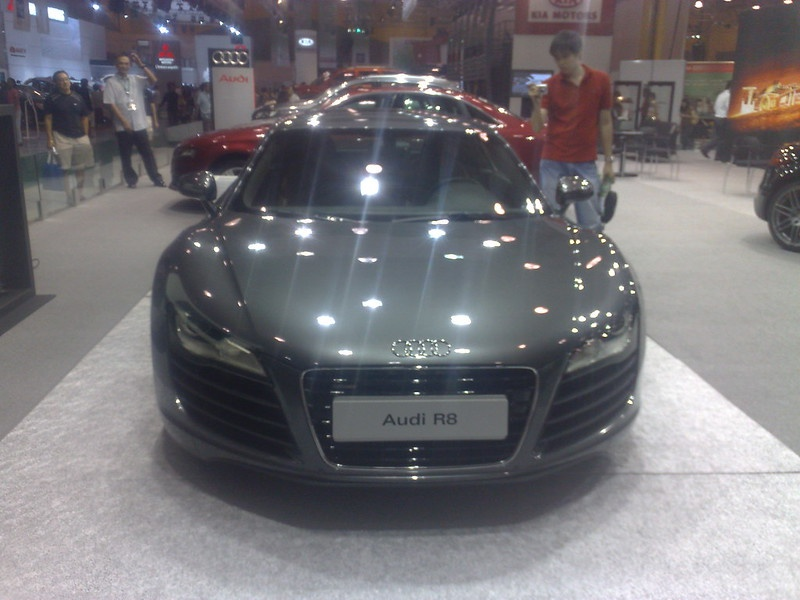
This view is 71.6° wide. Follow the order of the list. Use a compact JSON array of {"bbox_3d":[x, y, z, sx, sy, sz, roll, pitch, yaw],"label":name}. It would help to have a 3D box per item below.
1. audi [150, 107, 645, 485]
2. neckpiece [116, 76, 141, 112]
[{"bbox_3d":[-0.140,-0.431,3.697,2.114,1.289,4.103,-1,18,-7],"label":"audi"},{"bbox_3d":[-4.772,-3.635,9.841,0.310,0.581,0.133,-4,12,-31],"label":"neckpiece"}]
